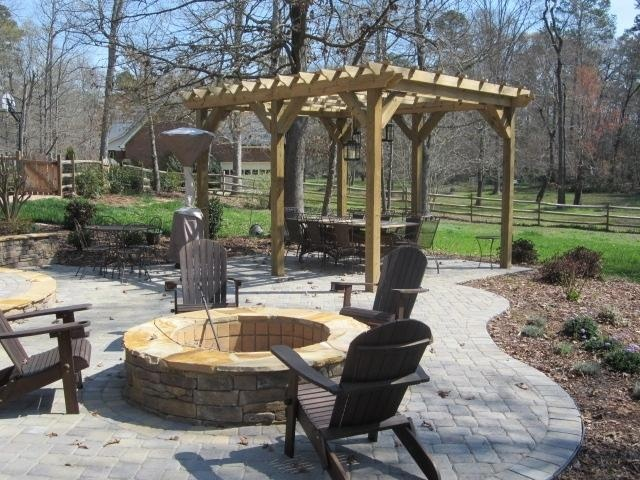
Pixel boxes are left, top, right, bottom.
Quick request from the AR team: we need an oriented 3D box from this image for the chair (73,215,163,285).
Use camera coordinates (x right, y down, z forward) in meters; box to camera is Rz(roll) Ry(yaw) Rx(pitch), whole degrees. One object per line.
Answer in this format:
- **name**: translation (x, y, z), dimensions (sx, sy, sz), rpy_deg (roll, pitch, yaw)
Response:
- **chair**: translation (-3.908, 0.214, 11.697), dimensions (1.350, 0.756, 1.370), rpy_deg (5, 9, 15)

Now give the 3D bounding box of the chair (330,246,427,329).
- **chair**: translation (0.679, 0.646, 7.105), dimensions (0.919, 1.218, 1.024), rpy_deg (0, 4, -42)

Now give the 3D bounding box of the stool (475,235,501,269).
- **stool**: translation (3.821, 0.308, 13.791), dimensions (0.706, 0.801, 0.744), rpy_deg (-1, -3, 41)

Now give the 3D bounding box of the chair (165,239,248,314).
- **chair**: translation (-1.348, 0.443, 7.291), dimensions (0.880, 1.145, 0.870), rpy_deg (-1, 4, -21)
